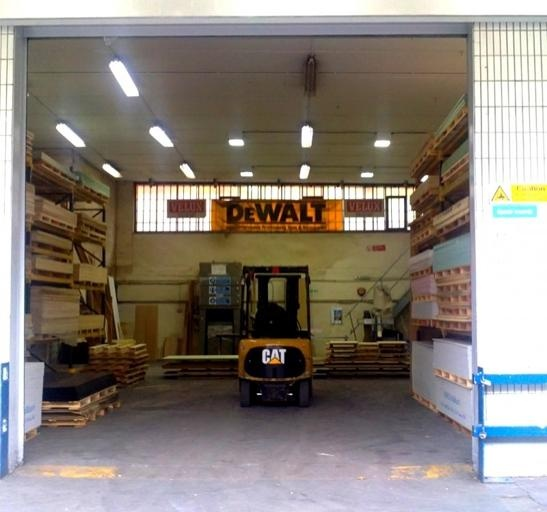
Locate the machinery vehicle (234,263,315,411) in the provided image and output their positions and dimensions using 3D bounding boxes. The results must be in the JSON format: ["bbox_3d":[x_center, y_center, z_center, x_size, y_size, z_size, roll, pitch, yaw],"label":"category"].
[{"bbox_3d":[0.082,1.662,12.641,1.772,3.070,5.767,0,-5,2],"label":"machinery vehicle"}]
